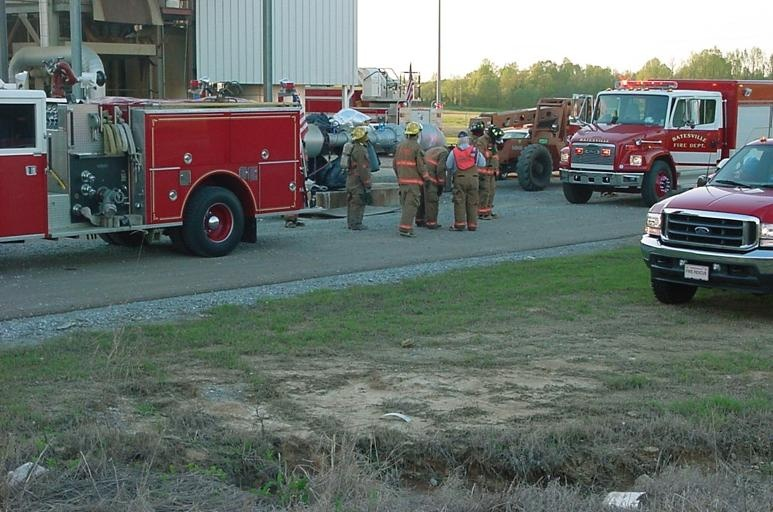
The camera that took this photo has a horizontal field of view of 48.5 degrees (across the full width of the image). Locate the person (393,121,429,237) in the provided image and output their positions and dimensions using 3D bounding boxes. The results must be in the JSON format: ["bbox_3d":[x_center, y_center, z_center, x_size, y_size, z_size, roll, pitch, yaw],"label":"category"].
[{"bbox_3d":[0.477,-1.574,17.683,0.696,2.254,0.985,1,0,-3],"label":"person"}]
